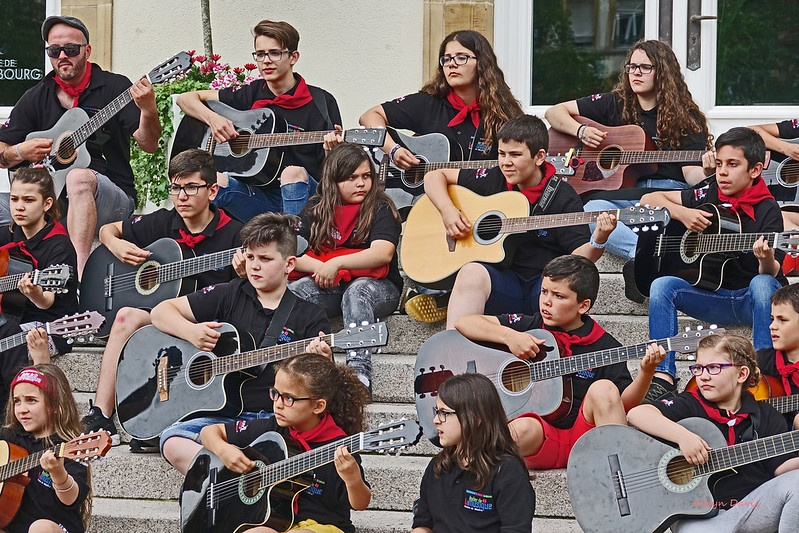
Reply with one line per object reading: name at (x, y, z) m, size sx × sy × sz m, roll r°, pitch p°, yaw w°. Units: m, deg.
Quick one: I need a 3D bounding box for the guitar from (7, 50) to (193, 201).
guitar at (-2.038, -0.978, 8.276) m, size 1.604 × 0.635 × 0.222 m, roll -38°, pitch -10°, yaw 8°

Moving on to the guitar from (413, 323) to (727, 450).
guitar at (0.983, 0.627, 6.964) m, size 1.678 × 0.685 × 0.225 m, roll -11°, pitch -21°, yaw 15°

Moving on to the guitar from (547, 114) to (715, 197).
guitar at (1.578, -0.755, 8.221) m, size 1.317 × 0.525 × 0.179 m, roll 2°, pitch -1°, yaw -13°

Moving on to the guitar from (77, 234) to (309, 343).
guitar at (-1.417, 0.132, 7.794) m, size 1.503 × 0.609 × 0.205 m, roll -15°, pitch -29°, yaw 15°

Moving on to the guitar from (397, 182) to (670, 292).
guitar at (0.795, -0.206, 7.420) m, size 1.592 × 0.654 × 0.213 m, roll -3°, pitch -28°, yaw 20°
